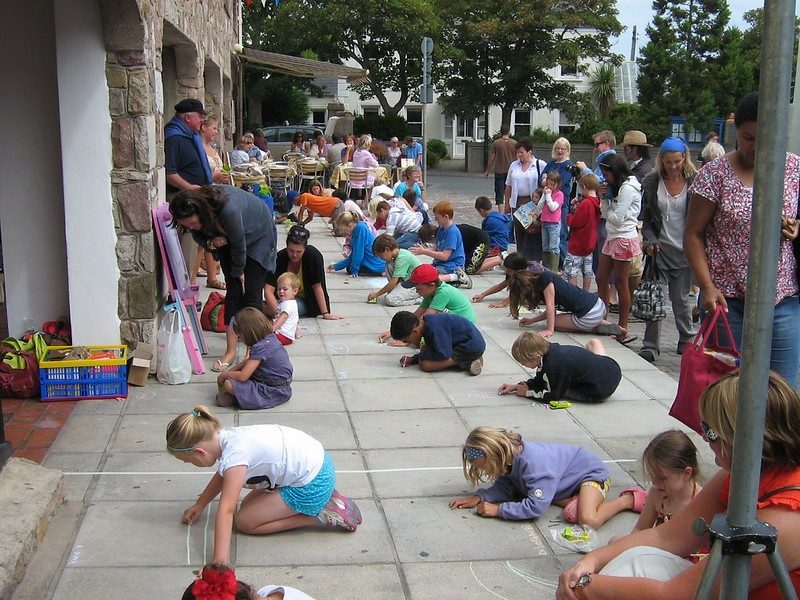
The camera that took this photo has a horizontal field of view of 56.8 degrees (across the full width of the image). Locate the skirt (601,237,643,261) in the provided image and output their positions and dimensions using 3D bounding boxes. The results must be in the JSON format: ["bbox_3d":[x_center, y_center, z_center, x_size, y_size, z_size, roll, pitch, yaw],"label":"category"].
[{"bbox_3d":[2.295,-0.520,7.640,0.236,0.168,0.346,-2,2,-1],"label":"skirt"}]

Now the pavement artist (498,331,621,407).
[{"bbox_3d":[1.272,0.532,5.863,0.862,0.428,0.540,0,3,4],"label":"pavement artist"}]

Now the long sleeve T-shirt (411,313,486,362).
[{"bbox_3d":[0.469,0.331,6.571,0.512,0.343,0.403,1,0,1],"label":"long sleeve T-shirt"}]

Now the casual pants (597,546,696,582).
[{"bbox_3d":[1.101,1.146,3.245,0.311,0.124,0.181,-11,8,6],"label":"casual pants"}]

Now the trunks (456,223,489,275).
[{"bbox_3d":[1.031,-0.730,10.559,0.619,0.644,0.535,-10,4,8],"label":"trunks"}]

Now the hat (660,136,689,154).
[{"bbox_3d":[2.516,-1.401,6.793,0.190,0.140,0.267,-1,14,8],"label":"hat"}]

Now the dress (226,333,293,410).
[{"bbox_3d":[-1.064,0.519,6.110,0.533,0.691,0.582,5,5,1],"label":"dress"}]

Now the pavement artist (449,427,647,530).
[{"bbox_3d":[0.912,1.038,4.491,1.007,0.435,0.588,5,-6,-16],"label":"pavement artist"}]

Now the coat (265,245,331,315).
[{"bbox_3d":[-1.031,-0.141,7.968,0.701,0.820,0.691,3,21,2],"label":"coat"}]

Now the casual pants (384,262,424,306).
[{"bbox_3d":[0.108,-0.154,9.003,0.608,0.284,0.326,-9,18,-35],"label":"casual pants"}]

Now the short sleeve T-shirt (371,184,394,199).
[{"bbox_3d":[-0.319,-1.976,13.536,0.528,0.223,0.575,2,15,6],"label":"short sleeve T-shirt"}]

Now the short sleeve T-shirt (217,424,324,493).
[{"bbox_3d":[-0.710,0.845,4.105,0.540,0.283,0.329,10,23,-21],"label":"short sleeve T-shirt"}]

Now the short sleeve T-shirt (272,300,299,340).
[{"bbox_3d":[-1.115,0.195,7.226,0.210,0.375,0.344,7,5,3],"label":"short sleeve T-shirt"}]

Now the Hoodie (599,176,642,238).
[{"bbox_3d":[2.330,-0.966,7.769,0.416,0.634,0.468,-1,12,3],"label":"Hoodie"}]

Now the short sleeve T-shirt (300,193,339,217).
[{"bbox_3d":[-1.444,-1.702,13.248,0.703,0.369,0.274,16,13,11],"label":"short sleeve T-shirt"}]

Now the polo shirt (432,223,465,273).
[{"bbox_3d":[0.651,-0.693,9.848,0.445,0.617,0.515,-3,13,-4],"label":"polo shirt"}]

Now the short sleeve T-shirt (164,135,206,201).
[{"bbox_3d":[-2.198,-1.430,7.551,0.402,0.659,0.678,5,20,-3],"label":"short sleeve T-shirt"}]

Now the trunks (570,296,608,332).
[{"bbox_3d":[1.987,0.167,7.766,0.331,0.149,0.328,26,56,30],"label":"trunks"}]

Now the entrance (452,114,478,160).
[{"bbox_3d":[3.893,-9.778,44.757,0.375,2.375,1.154,17,7,-14],"label":"entrance"}]

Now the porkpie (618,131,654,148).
[{"bbox_3d":[2.781,-1.883,8.676,0.340,0.132,0.285,2,5,-8],"label":"porkpie"}]

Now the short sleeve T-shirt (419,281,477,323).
[{"bbox_3d":[0.427,0.061,7.481,0.682,0.439,0.421,-5,6,-9],"label":"short sleeve T-shirt"}]

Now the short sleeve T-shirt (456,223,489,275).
[{"bbox_3d":[1.033,-0.742,10.571,0.619,0.644,0.535,-10,4,8],"label":"short sleeve T-shirt"}]

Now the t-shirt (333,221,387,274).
[{"bbox_3d":[-0.566,-0.721,10.373,0.762,0.798,0.602,7,11,17],"label":"t-shirt"}]

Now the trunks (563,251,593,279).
[{"bbox_3d":[2.205,-0.431,9.076,0.311,0.410,0.160,7,23,22],"label":"trunks"}]

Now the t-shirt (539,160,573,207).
[{"bbox_3d":[2.262,-1.719,10.582,0.365,0.572,0.484,4,14,12],"label":"t-shirt"}]

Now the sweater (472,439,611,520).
[{"bbox_3d":[0.886,1.095,4.603,0.866,0.416,0.554,-6,1,-9],"label":"sweater"}]

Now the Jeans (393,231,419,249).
[{"bbox_3d":[0.117,-0.886,10.841,0.382,0.279,0.134,-8,-31,4],"label":"Jeans"}]

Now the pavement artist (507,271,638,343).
[{"bbox_3d":[1.845,0.071,7.766,1.331,0.568,0.524,10,3,13],"label":"pavement artist"}]

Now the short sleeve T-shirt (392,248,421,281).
[{"bbox_3d":[0.077,-0.448,8.836,0.292,0.401,0.538,8,13,22],"label":"short sleeve T-shirt"}]

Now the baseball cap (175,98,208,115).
[{"bbox_3d":[-2.074,-1.920,7.368,0.235,0.098,0.185,-10,19,-26],"label":"baseball cap"}]

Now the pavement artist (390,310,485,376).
[{"bbox_3d":[0.350,0.377,6.786,0.840,0.577,0.578,1,4,-1],"label":"pavement artist"}]

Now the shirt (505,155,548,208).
[{"bbox_3d":[1.928,-1.810,11.323,0.675,0.721,0.406,6,15,19],"label":"shirt"}]

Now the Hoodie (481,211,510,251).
[{"bbox_3d":[1.461,-1.029,11.418,0.504,0.576,0.523,-9,4,-18],"label":"Hoodie"}]

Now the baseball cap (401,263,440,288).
[{"bbox_3d":[0.200,-0.211,7.215,0.334,0.175,0.211,-9,14,2],"label":"baseball cap"}]

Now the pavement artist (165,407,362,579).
[{"bbox_3d":[-0.726,0.962,4.076,1.066,0.789,0.676,0,20,-7],"label":"pavement artist"}]

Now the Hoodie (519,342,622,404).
[{"bbox_3d":[1.404,0.551,6.110,0.844,0.384,0.542,-2,21,3],"label":"Hoodie"}]

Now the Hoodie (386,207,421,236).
[{"bbox_3d":[0.077,-1.302,10.990,0.438,0.322,0.686,4,25,14],"label":"Hoodie"}]

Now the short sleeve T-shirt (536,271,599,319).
[{"bbox_3d":[1.753,-0.071,7.696,0.810,0.508,0.236,-5,14,-25],"label":"short sleeve T-shirt"}]
